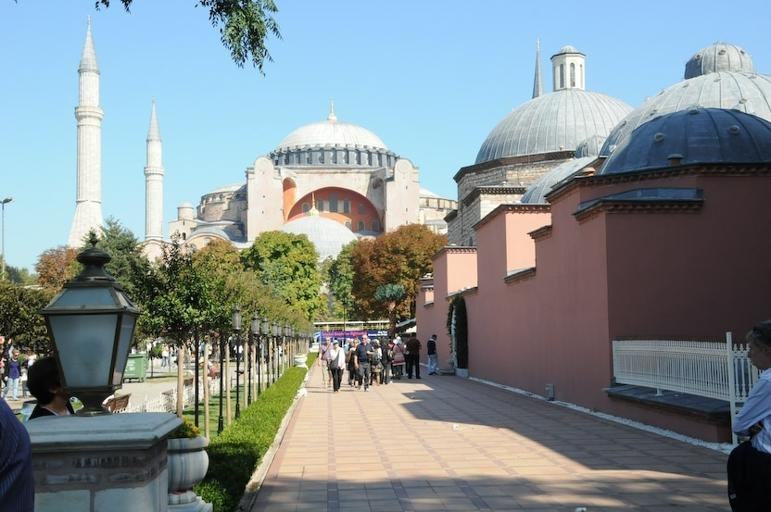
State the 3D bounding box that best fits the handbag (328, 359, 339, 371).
[{"bbox_3d":[-1.682,3.460,28.439,0.336,0.345,0.308,0,-8,-5],"label":"handbag"}]
